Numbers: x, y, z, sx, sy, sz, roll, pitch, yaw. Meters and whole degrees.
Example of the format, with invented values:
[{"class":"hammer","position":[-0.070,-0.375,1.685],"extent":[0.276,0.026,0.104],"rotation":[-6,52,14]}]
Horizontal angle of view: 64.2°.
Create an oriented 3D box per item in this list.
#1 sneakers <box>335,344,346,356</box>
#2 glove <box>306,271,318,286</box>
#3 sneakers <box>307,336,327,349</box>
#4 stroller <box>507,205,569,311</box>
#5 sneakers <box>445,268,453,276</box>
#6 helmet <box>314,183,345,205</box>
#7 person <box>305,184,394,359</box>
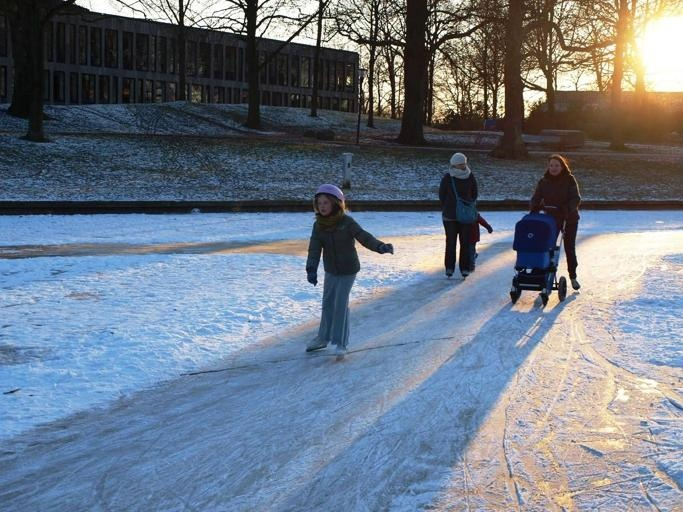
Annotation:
[{"class":"sneakers","position":[-0.008,1.086,6.275],"extent":[0.105,0.118,0.180],"rotation":[0,11,2]},{"class":"glove","position":[-0.330,0.247,6.197],"extent":[0.092,0.125,0.214],"rotation":[-2,11,-9]},{"class":"sneakers","position":[-0.257,1.040,6.559],"extent":[0.294,0.095,0.123],"rotation":[-2,4,-31]},{"class":"stroller","position":[3.070,0.016,8.615],"extent":[0.691,1.371,0.799],"rotation":[3,13,16]},{"class":"sneakers","position":[2.057,0.304,10.386],"extent":[0.150,0.079,0.137],"rotation":[2,5,16]},{"class":"helmet","position":[-0.144,-0.761,6.464],"extent":[0.307,0.194,0.511],"rotation":[0,10,1]},{"class":"person","position":[-0.079,0.170,6.378],"extent":[0.850,2.009,0.673],"rotation":[12,18,43]}]
